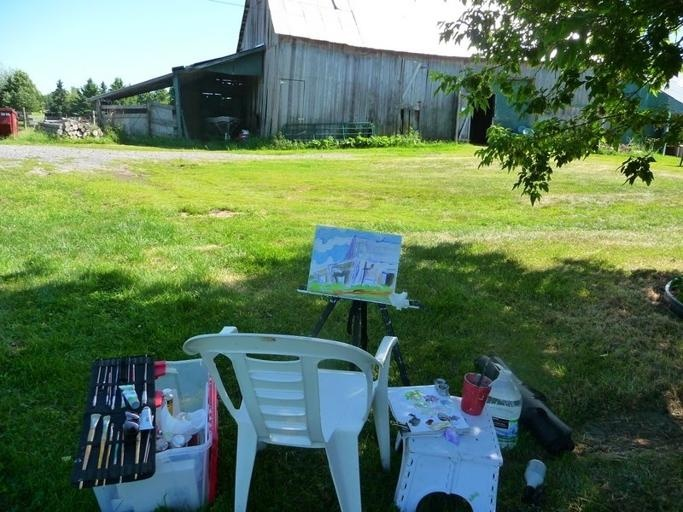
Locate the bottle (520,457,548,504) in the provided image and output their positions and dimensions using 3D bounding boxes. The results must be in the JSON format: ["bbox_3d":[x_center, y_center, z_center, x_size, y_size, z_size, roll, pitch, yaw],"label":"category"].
[{"bbox_3d":[1.585,1.819,4.456,0.140,0.168,0.343,16,42,6],"label":"bottle"}]

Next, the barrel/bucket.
[{"bbox_3d":[1.420,1.334,4.710,0.396,0.260,0.680,4,51,13],"label":"barrel/bucket"}]

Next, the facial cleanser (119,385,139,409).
[{"bbox_3d":[-1.668,1.093,4.310,0.102,0.062,0.202,-8,45,-25],"label":"facial cleanser"}]

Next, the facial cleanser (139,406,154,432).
[{"bbox_3d":[-1.493,1.240,4.186,0.103,0.115,0.155,-3,16,-20],"label":"facial cleanser"}]

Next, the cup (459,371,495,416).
[{"bbox_3d":[1.088,1.107,4.570,0.239,0.331,0.300,2,15,-23],"label":"cup"}]
